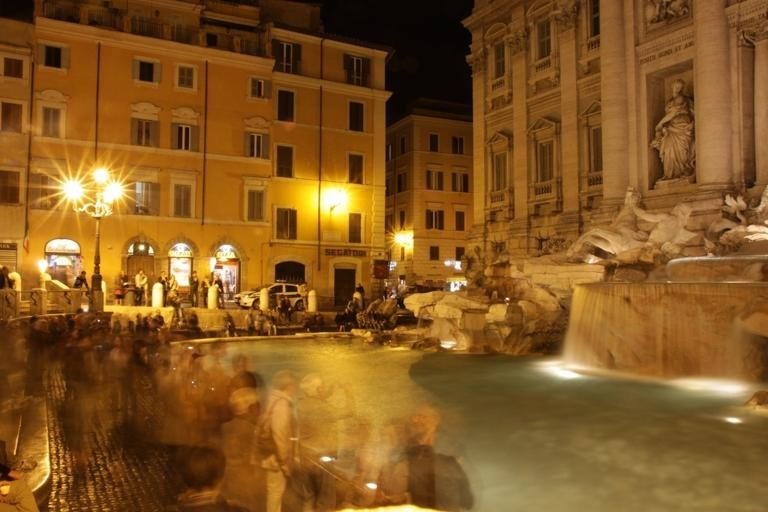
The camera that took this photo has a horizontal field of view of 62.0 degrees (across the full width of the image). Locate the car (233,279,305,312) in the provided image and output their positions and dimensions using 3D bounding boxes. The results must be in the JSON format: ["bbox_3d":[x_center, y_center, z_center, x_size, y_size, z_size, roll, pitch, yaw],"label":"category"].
[{"bbox_3d":[-6.328,2.294,36.039,2.890,1.357,1.730,3,-6,-29],"label":"car"}]
